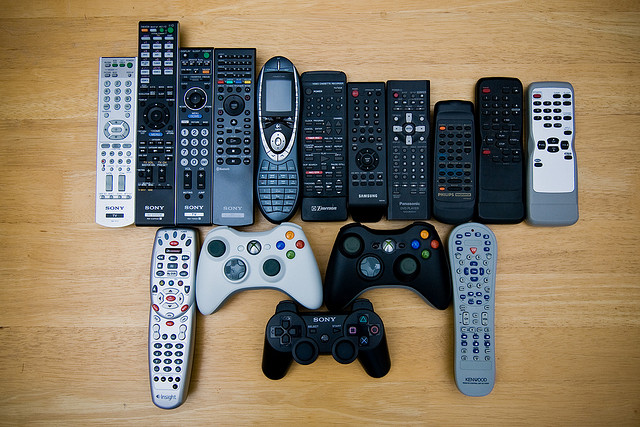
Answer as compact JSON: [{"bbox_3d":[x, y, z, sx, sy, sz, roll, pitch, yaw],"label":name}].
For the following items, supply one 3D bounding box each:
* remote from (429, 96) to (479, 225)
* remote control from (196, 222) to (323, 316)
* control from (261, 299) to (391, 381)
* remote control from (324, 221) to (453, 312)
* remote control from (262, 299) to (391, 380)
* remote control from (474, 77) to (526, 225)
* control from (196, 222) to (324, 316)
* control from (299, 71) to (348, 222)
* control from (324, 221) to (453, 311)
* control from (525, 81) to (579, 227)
[{"bbox_3d":[0.300,-0.117,1.487,0.129,0.085,0.260,0,92,7],"label":"remote"},{"bbox_3d":[-0.132,0.125,1.566,0.336,0.102,0.201,-6,77,26],"label":"remote control"},{"bbox_3d":[0.015,0.295,1.535,0.353,0.079,0.174,0,86,0],"label":"control"},{"bbox_3d":[0.151,0.120,1.566,0.335,0.102,0.197,5,80,-21],"label":"remote control"},{"bbox_3d":[0.012,0.293,1.551,0.310,0.074,0.150,0,75,-2],"label":"remote control"},{"bbox_3d":[0.430,-0.216,1.588,0.108,0.300,0.055,0,54,19],"label":"remote control"},{"bbox_3d":[-0.159,0.123,1.563,0.330,0.091,0.196,0,76,-32],"label":"control"},{"bbox_3d":[0.011,-0.152,1.571,0.148,0.386,0.342,0,87,-2],"label":"control"},{"bbox_3d":[0.179,0.118,1.565,0.316,0.102,0.193,1,83,34],"label":"control"},{"bbox_3d":[0.539,-0.134,1.545,0.128,0.070,0.316,1,88,4],"label":"control"}]
